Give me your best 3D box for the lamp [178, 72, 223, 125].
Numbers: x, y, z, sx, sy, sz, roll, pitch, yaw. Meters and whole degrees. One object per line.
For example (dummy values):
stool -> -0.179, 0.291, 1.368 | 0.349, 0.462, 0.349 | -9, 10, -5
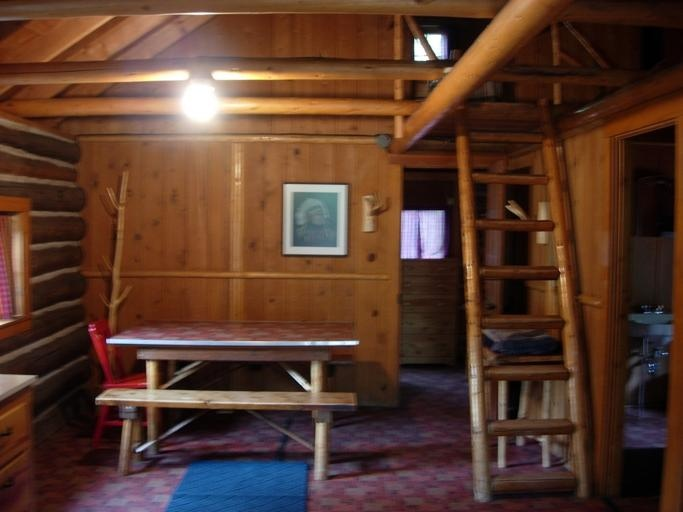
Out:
lamp -> -1.130, -1.277, 4.982 | 0.242, 0.317, 0.315 | 0, 8, -5

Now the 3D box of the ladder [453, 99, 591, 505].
ladder -> 1.517, 0.321, 5.280 | 1.122, 3.232, 1.098 | 1, 8, 2

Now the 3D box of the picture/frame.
picture/frame -> -0.294, -0.451, 6.995 | 1.027, 0.894, 0.066 | 0, 2, 0
